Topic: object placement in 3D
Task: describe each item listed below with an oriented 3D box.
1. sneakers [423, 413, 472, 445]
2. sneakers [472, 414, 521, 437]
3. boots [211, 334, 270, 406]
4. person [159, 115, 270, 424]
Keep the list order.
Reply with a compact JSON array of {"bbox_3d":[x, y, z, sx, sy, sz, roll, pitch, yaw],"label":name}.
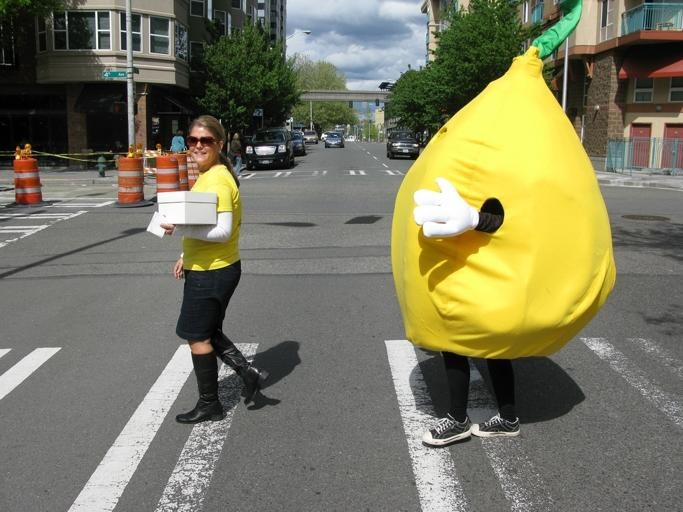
[{"bbox_3d":[0.679,1.128,3.732,0.368,0.170,0.141,-7,11,-14],"label":"sneakers"},{"bbox_3d":[1.041,1.152,3.842,0.353,0.150,0.135,1,3,0],"label":"sneakers"},{"bbox_3d":[-0.813,0.935,4.516,0.566,0.396,0.167,41,33,4],"label":"boots"},{"bbox_3d":[-0.907,0.095,4.052,0.620,2.175,0.547,-2,10,-10],"label":"person"}]
